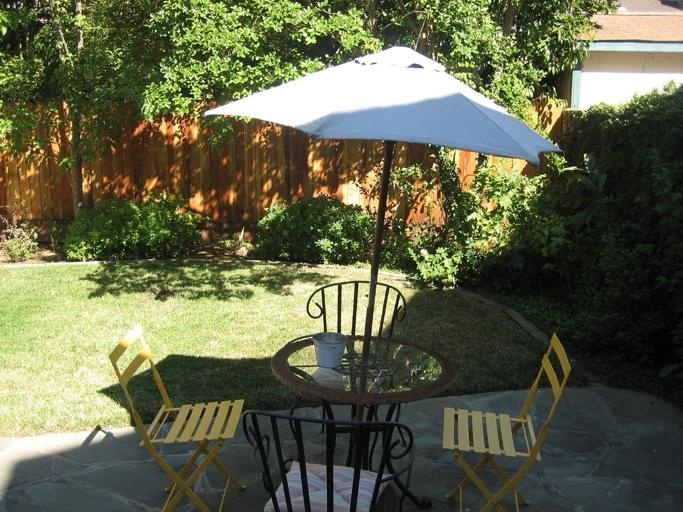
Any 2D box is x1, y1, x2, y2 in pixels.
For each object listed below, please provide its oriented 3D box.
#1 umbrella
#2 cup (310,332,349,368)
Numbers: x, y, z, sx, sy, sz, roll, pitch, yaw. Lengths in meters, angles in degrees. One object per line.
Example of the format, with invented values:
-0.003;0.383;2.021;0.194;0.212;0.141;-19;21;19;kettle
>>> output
0.549;-0.205;6.103;2.608;2.861;2.779;20;23;26;umbrella
-0.104;0.817;5.523;0.246;0.229;0.288;1;-6;-1;cup
